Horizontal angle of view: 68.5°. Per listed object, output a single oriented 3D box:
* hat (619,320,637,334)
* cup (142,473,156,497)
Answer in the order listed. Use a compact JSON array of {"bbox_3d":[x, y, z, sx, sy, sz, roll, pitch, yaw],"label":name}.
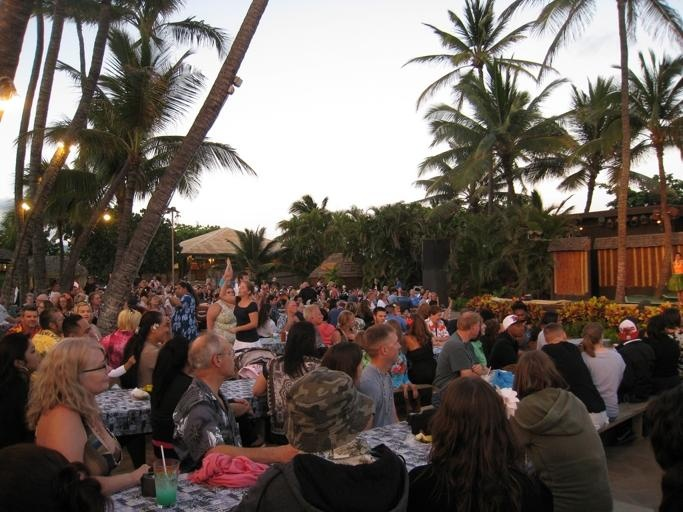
[{"bbox_3d":[4.733,1.175,8.297,0.175,0.241,0.256,-6,-34,14],"label":"hat"},{"bbox_3d":[-1.336,1.585,3.469,0.107,0.116,0.151,1,-7,-1],"label":"cup"}]
